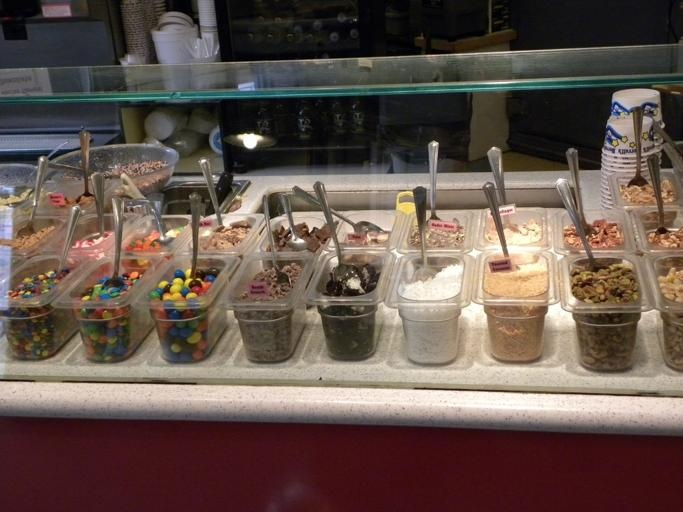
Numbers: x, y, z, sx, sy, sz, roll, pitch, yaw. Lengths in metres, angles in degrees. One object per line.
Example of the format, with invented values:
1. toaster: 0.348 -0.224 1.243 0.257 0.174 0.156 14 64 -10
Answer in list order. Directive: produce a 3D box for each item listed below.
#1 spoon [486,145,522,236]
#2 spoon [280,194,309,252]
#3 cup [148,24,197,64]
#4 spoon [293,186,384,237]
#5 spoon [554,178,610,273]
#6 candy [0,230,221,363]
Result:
1. spoon: 0.414 -0.169 1.389 0.095 0.235 0.023 -20 13 -18
2. spoon: -0.139 -0.076 1.433 0.059 0.182 0.032 -11 29 19
3. cup: -1.003 -1.280 3.092 0.169 0.113 0.152 -11 -1 -8
4. spoon: -0.042 -0.150 1.588 0.046 0.076 0.343 10 21 -30
5. spoon: 0.549 -0.077 1.228 0.097 0.265 0.045 -21 -6 11
6. candy: -0.547 0.096 1.264 0.419 0.124 0.252 -11 30 -21
